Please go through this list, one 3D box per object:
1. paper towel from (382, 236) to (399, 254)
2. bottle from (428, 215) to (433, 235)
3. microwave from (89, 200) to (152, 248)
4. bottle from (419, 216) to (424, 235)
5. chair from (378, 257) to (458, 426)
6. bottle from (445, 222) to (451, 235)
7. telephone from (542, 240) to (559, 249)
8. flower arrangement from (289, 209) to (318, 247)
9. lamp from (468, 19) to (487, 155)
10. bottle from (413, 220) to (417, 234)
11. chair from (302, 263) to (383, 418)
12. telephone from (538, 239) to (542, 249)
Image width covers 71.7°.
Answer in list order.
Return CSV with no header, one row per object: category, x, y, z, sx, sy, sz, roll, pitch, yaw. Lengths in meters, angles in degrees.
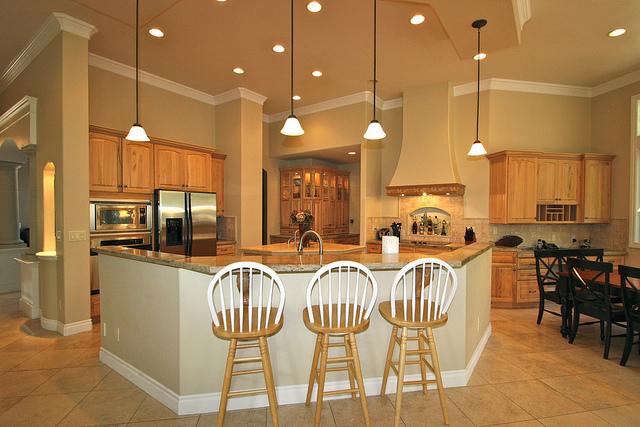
paper towel,0.972,0.431,6.054,0.228,0.251,0.222,3,-3,-29
bottle,2.186,0.227,8.811,0.088,0.390,0.083,-1,0,0
microwave,-3.254,0.190,7.504,1.056,0.955,0.598,-1,1,3
bottle,2.025,0.249,8.890,0.077,0.337,0.127,-1,0,4
chair,1.205,1.512,5.352,0.978,2.029,0.717,-1,0,-9
bottle,2.483,0.291,8.629,0.084,0.238,0.056,-1,0,23
telephone,4.216,0.560,8.157,0.222,0.167,0.409,-2,-1,28
flower arrangement,-0.291,0.245,7.759,0.566,0.722,0.586,-1,-3,-2
lamp,2.422,-1.921,6.774,0.351,1.969,0.356,3,9,31
bottle,1.916,0.290,8.959,0.076,0.270,0.039,-1,0,9
chair,0.246,1.499,5.294,0.905,1.784,0.653,-1,0,-3
telephone,4.043,0.552,8.157,0.067,0.175,0.345,-1,-1,26
